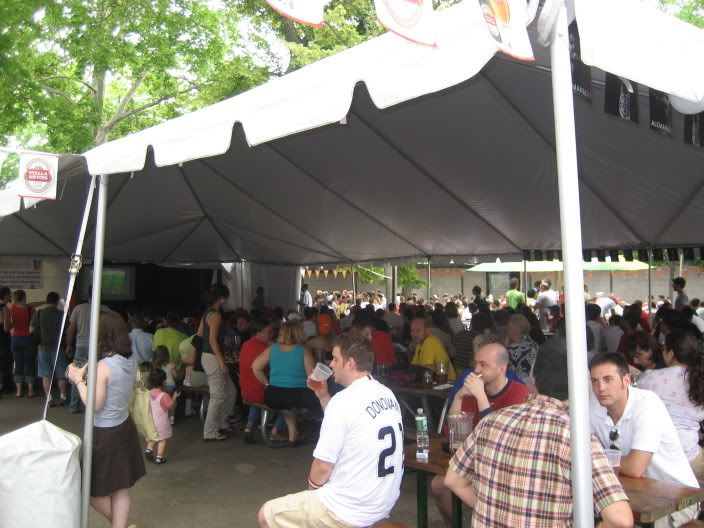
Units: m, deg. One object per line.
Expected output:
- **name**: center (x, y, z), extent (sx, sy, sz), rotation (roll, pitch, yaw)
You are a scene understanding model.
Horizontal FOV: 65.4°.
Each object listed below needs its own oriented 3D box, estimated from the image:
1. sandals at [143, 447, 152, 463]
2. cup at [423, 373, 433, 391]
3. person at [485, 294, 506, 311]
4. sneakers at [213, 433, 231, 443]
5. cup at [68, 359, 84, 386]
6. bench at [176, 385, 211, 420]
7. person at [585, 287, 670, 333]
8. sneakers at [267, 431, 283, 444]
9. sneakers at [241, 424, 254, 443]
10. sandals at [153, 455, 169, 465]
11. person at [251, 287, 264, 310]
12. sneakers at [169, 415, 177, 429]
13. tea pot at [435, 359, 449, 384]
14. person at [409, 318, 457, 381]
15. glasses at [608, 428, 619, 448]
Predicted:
- **sandals**: center (-2.548, 2.398, 6.884), extent (0.077, 0.158, 0.103), rotation (-11, 3, 2)
- **cup**: center (0.938, 1.437, 6.768), extent (0.141, 0.221, 0.136), rotation (0, -12, 0)
- **person**: center (5.139, 1.341, 19.732), extent (0.954, 0.502, 0.952), rotation (2, -6, -41)
- **sneakers**: center (-1.853, 2.470, 7.798), extent (0.070, 0.148, 0.200), rotation (2, 1, 38)
- **cup**: center (-2.301, 0.915, 4.647), extent (0.140, 0.177, 0.188), rotation (-2, -4, -1)
- **bench**: center (-2.539, 2.230, 8.813), extent (0.524, 0.364, 0.747), rotation (-1, 2, -39)
- **person**: center (7.032, 1.092, 13.923), extent (1.181, 0.542, 1.802), rotation (-7, 8, -13)
- **sneakers**: center (-1.057, 2.388, 7.533), extent (0.105, 0.071, 0.184), rotation (2, 2, 42)
- **sneakers**: center (-1.460, 2.365, 7.716), extent (0.102, 0.232, 0.315), rotation (1, -1, 6)
- **sandals**: center (-2.367, 2.430, 6.825), extent (0.078, 0.062, 0.142), rotation (2, 2, 7)
- **person**: center (-2.488, 0.888, 14.360), extent (0.229, 0.757, 0.429), rotation (-8, 13, -44)
- **sneakers**: center (-2.808, 2.457, 8.611), extent (0.071, 0.156, 0.217), rotation (-1, 4, -20)
- **tea pot**: center (1.119, 1.363, 6.873), extent (0.212, 0.357, 0.220), rotation (3, -11, 1)
- **person**: center (0.965, 1.177, 7.525), extent (0.629, 0.841, 0.609), rotation (-8, 1, -31)
- **glasses**: center (1.731, 1.164, 3.646), extent (0.044, 0.087, 0.108), rotation (-4, 37, 2)
